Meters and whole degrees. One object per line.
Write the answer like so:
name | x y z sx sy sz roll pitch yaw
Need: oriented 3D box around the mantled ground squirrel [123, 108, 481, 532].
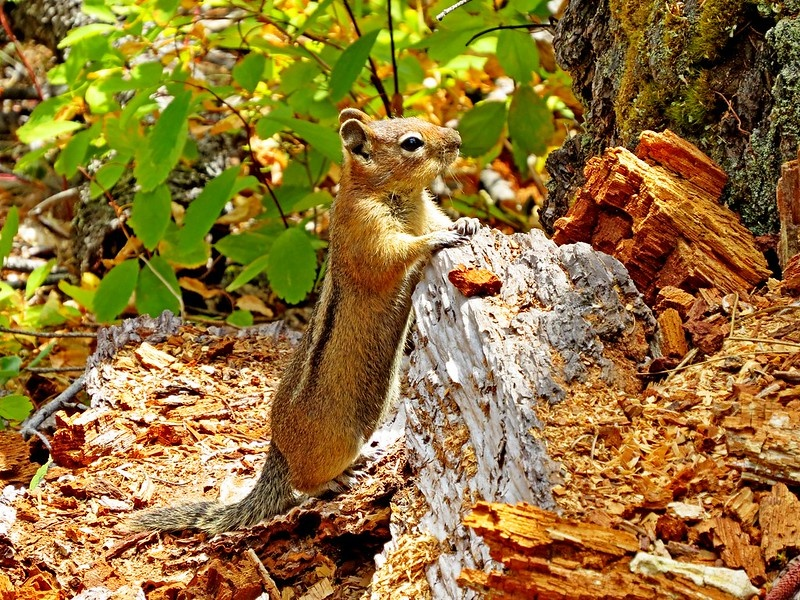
mantled ground squirrel | -0.375 0.198 6.416 1.103 1.533 2.936 22 60 15
